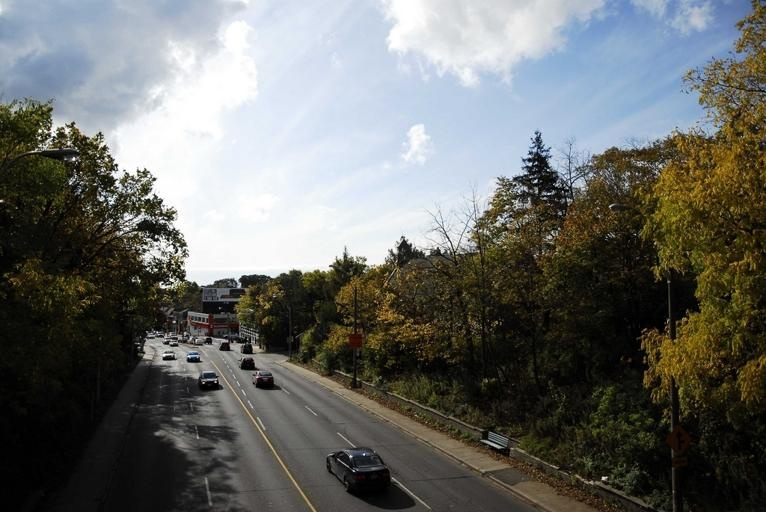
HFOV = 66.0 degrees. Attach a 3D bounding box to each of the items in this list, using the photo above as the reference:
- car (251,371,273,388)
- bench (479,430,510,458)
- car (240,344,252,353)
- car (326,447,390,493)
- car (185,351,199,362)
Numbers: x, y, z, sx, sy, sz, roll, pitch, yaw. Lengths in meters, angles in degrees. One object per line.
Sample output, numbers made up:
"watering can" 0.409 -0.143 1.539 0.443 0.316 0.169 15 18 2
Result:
"car" -11.793 12.021 57.471 1.212 1.126 2.835 2 -3 -15
"bench" 7.276 11.860 37.649 0.764 1.041 2.435 -1 1 -26
"car" -21.268 14.431 91.916 1.059 1.074 1.955 2 -2 -17
"car" -1.418 11.697 32.327 1.842 1.904 3.513 -1 2 -43
"car" -25.917 13.800 80.531 1.206 1.055 2.713 4 -15 -23
